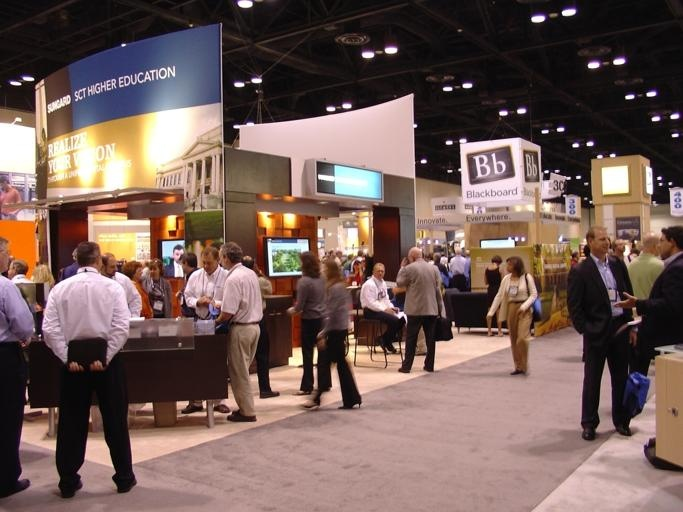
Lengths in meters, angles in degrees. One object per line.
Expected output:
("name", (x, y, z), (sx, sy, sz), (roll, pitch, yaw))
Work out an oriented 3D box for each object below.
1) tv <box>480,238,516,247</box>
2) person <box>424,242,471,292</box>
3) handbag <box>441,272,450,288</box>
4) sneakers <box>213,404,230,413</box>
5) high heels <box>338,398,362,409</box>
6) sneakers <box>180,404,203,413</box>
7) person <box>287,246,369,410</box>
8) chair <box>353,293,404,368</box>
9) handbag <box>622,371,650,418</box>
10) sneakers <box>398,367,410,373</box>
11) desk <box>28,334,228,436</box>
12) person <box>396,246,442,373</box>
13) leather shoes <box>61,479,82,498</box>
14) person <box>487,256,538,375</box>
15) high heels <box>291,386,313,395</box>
("tv", (4.356, -0.388, 15.754), (0.958, 0.272, 0.378), (-1, 0, 16))
("person", (2.521, 0.251, 13.252), (1.053, 1.388, 0.424), (-1, 6, 14))
("handbag", (2.312, 0.523, 12.682), (0.274, 0.085, 0.307), (17, -39, 12))
("sneakers", (-1.323, 1.675, 6.216), (0.194, 0.080, 0.072), (-3, -4, 39))
("high heels", (0.101, 1.604, 6.167), (0.281, 0.146, 0.099), (6, -8, -2))
("sneakers", (-1.628, 1.652, 6.161), (0.088, 0.116, 0.270), (-7, -13, 38))
("person", (-0.089, 0.842, 6.136), (0.557, 1.539, 0.358), (-1, 0, 6))
("chair", (0.424, 1.167, 9.446), (0.507, 1.044, 0.530), (5, -12, 18))
("handbag", (2.674, 1.273, 5.124), (0.206, 0.470, 0.501), (-1, 0, 28))
("sneakers", (0.860, 1.572, 7.869), (0.180, 0.074, 0.111), (-1, 0, 33))
("desk", (-1.888, 1.111, 5.016), (1.071, 0.587, 0.586), (-1, 2, -6))
("person", (1.109, 0.829, 7.905), (0.635, 1.648, 0.329), (-1, 0, 7))
("leather shoes", (-2.014, 1.716, 4.209), (0.160, 0.107, 0.163), (-2, 0, -28))
("person", (2.396, 0.791, 7.818), (0.620, 1.644, 0.690), (-1, 0, 13))
("high heels", (-0.473, 1.610, 6.822), (0.255, 0.113, 0.090), (2, -7, 3))
